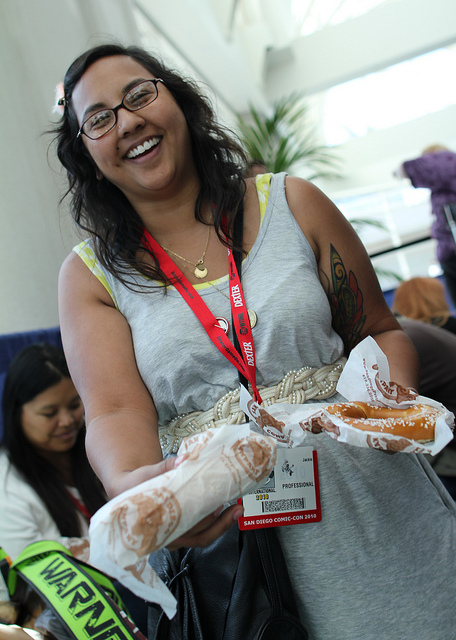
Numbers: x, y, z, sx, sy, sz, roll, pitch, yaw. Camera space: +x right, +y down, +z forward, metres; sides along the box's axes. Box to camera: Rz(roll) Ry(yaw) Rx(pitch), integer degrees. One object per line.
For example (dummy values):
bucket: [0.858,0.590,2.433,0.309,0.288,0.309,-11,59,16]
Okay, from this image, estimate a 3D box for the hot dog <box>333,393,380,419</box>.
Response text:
hot dog: [0.194,0.133,0.828,0.045,0.029,0.055,12,44,35]

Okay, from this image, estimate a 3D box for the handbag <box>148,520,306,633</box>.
handbag: [-0.018,0.435,0.856,0.236,0.132,0.154,-16,36,1]

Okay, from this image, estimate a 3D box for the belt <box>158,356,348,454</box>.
belt: [0.050,0.126,1.114,0.340,0.175,0.348,-4,3,-9]

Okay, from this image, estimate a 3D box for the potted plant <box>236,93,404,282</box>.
potted plant: [0.493,-1.170,4.971,0.868,1.613,0.814,-2,20,38]
